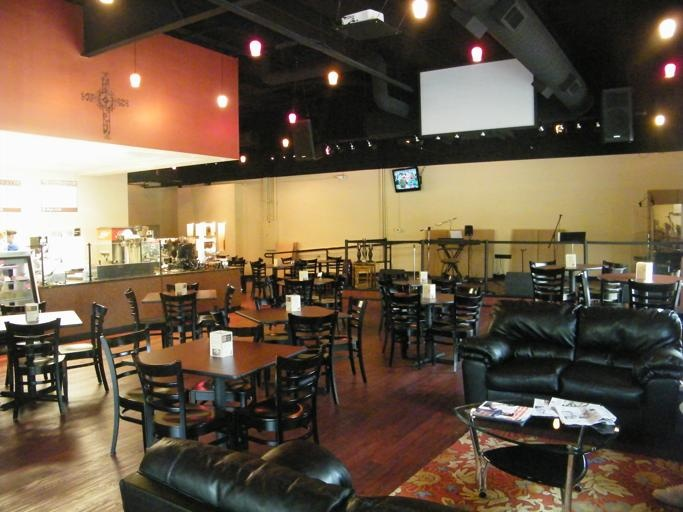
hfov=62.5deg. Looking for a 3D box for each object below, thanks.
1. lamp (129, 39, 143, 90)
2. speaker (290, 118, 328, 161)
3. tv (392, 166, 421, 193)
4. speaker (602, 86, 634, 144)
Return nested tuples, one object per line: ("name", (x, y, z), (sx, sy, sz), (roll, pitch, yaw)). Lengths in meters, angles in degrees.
("lamp", (-2.840, -2.686, 7.755), (0.166, 0.707, 0.539), (-5, 3, -18))
("speaker", (-0.710, -2.390, 11.475), (0.507, 0.794, 0.668), (-3, 3, 5))
("tv", (1.795, -2.123, 15.338), (0.720, 0.591, 0.104), (-3, 2, 36))
("speaker", (4.168, -2.178, 8.575), (0.400, 0.785, 0.137), (-2, 4, 18))
